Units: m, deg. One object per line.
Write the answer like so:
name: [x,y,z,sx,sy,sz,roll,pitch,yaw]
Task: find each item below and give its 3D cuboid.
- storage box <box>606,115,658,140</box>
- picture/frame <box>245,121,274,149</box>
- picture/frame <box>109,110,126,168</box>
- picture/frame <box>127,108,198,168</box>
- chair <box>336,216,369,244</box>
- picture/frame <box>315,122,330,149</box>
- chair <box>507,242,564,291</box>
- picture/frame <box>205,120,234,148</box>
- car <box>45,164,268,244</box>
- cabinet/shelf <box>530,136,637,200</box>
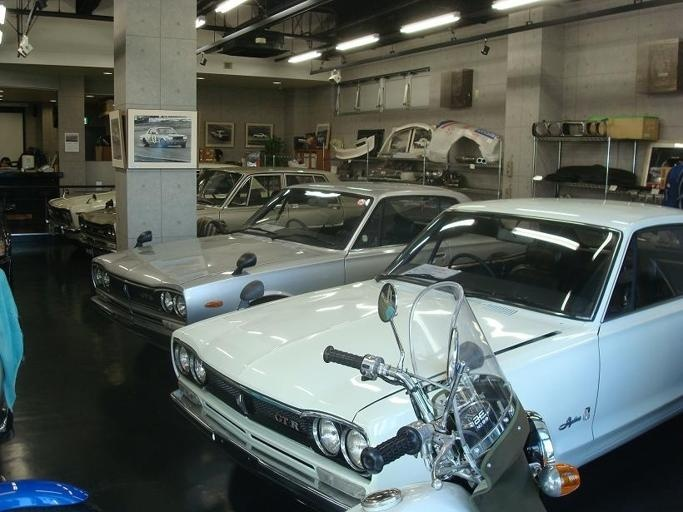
storage box: [5.047,-2.198,8.578,0.840,0.408,0.387,4,13,19]
picture/frame: [-2.971,-4.330,17.771,1.003,0.849,0.130,-6,13,-26]
picture/frame: [-3.089,-1.604,6.809,0.061,0.754,0.735,-8,15,-34]
picture/frame: [-2.414,-1.573,6.534,0.829,1.018,0.066,-1,6,-23]
chair: [0.080,-0.243,4.672,0.259,0.226,0.195,-17,12,-32]
picture/frame: [-0.612,-3.997,16.435,0.337,0.815,0.892,-4,12,-18]
chair: [1.325,0.072,3.417,0.240,0.353,0.402,11,-4,39]
picture/frame: [-4.295,-4.268,17.173,0.950,0.849,0.090,-3,9,-19]
car: [-3.888,-0.983,10.094,3.406,1.283,1.976,-7,13,-37]
cabinet/shelf: [4.563,-1.635,9.229,0.576,1.705,1.736,-5,12,-27]
